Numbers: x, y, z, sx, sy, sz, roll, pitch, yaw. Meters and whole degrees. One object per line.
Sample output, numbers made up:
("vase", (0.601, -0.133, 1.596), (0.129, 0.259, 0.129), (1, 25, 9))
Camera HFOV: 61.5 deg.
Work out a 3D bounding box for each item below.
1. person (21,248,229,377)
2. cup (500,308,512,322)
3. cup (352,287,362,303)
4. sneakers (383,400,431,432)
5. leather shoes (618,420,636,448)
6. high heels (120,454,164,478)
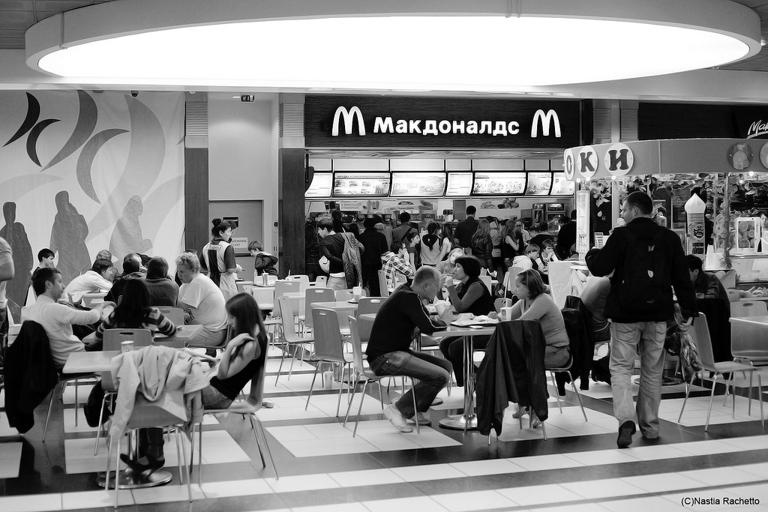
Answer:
("person", (-2.568, 0.598, 6.509), (1.865, 1.065, 0.842), (2, -13, -16))
("cup", (1.263, 0.614, 6.740), (0.145, 0.138, 0.123), (4, -1, 18))
("cup", (-0.419, 0.556, 9.676), (0.139, 0.154, 0.137), (0, 3, 0))
("sneakers", (0.283, 1.670, 6.618), (0.264, 0.200, 0.631), (-34, -33, 22))
("leather shoes", (2.255, 1.631, 5.985), (0.132, 0.266, 0.104), (6, -5, -1))
("high heels", (-2.065, 1.745, 5.388), (0.399, 0.155, 0.133), (10, 2, -10))
